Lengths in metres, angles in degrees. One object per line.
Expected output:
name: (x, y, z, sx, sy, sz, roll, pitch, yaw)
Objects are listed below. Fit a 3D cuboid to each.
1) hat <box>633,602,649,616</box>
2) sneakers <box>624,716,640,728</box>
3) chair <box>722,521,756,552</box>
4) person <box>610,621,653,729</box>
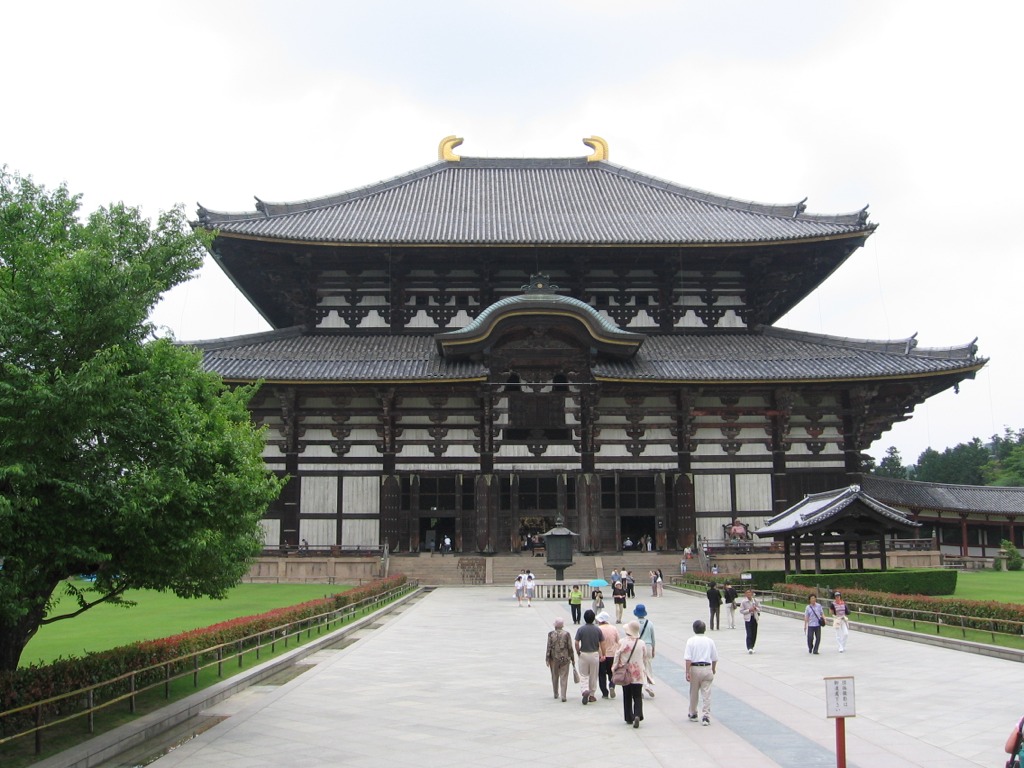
hat: (2.663, 4.665, 21.605, 0.218, 0.262, 0.525, 0, -14, 2)
sneakers: (2.358, 6.491, 20.135, 0.290, 0.197, 0.299, -2, -14, 8)
chair: (10.103, 6.726, 46.239, 1.326, 1.092, 1.210, 0, -8, -5)
person: (2.336, 5.643, 20.456, 0.637, 1.941, 0.837, -1, -15, 7)
